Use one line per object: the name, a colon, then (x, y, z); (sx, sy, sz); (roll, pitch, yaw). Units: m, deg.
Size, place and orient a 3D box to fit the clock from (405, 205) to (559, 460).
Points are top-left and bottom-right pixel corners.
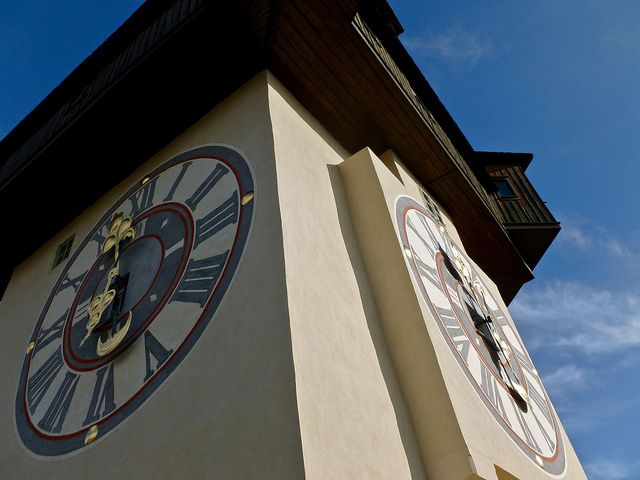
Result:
clock: (1.566, 0.990, 7.535); (0.241, 2.215, 2.262); (-30, -75, 17)
